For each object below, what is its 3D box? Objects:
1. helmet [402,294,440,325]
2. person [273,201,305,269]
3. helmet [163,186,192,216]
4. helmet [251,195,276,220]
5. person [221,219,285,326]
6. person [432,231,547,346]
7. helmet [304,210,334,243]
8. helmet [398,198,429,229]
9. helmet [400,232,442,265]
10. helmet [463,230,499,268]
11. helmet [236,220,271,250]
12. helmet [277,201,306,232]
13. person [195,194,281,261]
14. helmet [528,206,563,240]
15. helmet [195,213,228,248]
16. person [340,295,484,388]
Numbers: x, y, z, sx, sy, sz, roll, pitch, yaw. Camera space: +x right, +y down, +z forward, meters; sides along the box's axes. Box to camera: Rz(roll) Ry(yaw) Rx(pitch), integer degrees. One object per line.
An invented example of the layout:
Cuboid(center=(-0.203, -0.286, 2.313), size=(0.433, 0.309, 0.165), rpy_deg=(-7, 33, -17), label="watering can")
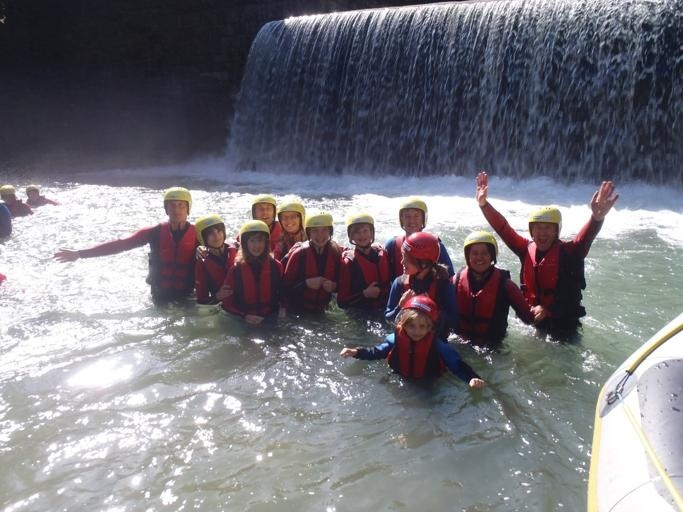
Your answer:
Cuboid(center=(0.877, 0.530, 6.315), size=(0.254, 0.287, 0.357), rpy_deg=(30, 0, 33), label="helmet")
Cuboid(center=(-0.720, -0.360, 8.415), size=(0.559, 0.852, 0.430), rpy_deg=(-5, -15, 1), label="person")
Cuboid(center=(-2.319, -0.792, 8.335), size=(0.303, 0.354, 0.435), rpy_deg=(2, 23, -2), label="helmet")
Cuboid(center=(-1.140, -0.690, 8.665), size=(0.264, 0.409, 0.377), rpy_deg=(0, -2, -9), label="helmet")
Cuboid(center=(-1.099, 0.277, 7.554), size=(0.851, 1.445, 0.770), rpy_deg=(-7, 14, -25), label="person")
Cuboid(center=(1.846, 0.440, 7.134), size=(1.255, 2.215, 0.668), rpy_deg=(1, -3, 17), label="person")
Cuboid(center=(-0.288, -0.386, 7.827), size=(0.285, 0.401, 0.400), rpy_deg=(-4, 5, -3), label="helmet")
Cuboid(center=(0.981, -0.592, 7.874), size=(0.333, 0.402, 0.447), rpy_deg=(4, 14, 16), label="helmet")
Cuboid(center=(0.928, -0.128, 6.756), size=(0.370, 0.321, 0.297), rpy_deg=(-13, 25, -13), label="helmet")
Cuboid(center=(1.721, -0.114, 7.134), size=(0.310, 0.421, 0.426), rpy_deg=(-2, 12, 14), label="helmet")
Cuboid(center=(-1.110, -0.274, 7.564), size=(0.283, 0.304, 0.370), rpy_deg=(0, -5, -5), label="helmet")
Cuboid(center=(-0.741, -0.566, 8.493), size=(0.359, 0.427, 0.478), rpy_deg=(-2, 2, 8), label="helmet")
Cuboid(center=(-1.335, -0.426, 8.787), size=(0.574, 0.924, 0.864), rpy_deg=(3, 2, -1), label="person")
Cuboid(center=(2.602, -0.449, 7.356), size=(0.279, 0.316, 0.384), rpy_deg=(8, 25, 29), label="helmet")
Cuboid(center=(-1.765, -0.361, 7.974), size=(0.321, 0.410, 0.416), rpy_deg=(-19, 5, -40), label="helmet")
Cuboid(center=(0.825, 0.905, 6.391), size=(1.523, 0.866, 0.650), rpy_deg=(6, 15, 24), label="person")
